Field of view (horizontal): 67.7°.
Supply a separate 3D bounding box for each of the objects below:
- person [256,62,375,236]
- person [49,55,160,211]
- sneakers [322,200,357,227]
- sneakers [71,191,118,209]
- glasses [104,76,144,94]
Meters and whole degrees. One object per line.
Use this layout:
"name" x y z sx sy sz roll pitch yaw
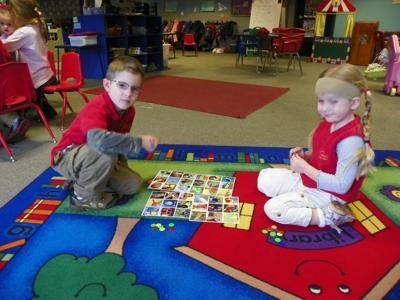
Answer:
"person" 0.697 -0.050 1.896 0.798 0.870 0.658 2 19 24
"person" -0.625 -0.102 2.008 0.728 0.943 0.735 5 4 -10
"sneakers" 0.791 0.364 1.783 0.193 0.139 0.136 9 23 -46
"sneakers" -0.668 0.341 1.952 0.288 0.118 0.105 -5 31 -16
"glasses" -0.458 -0.392 1.862 0.188 0.093 0.076 -4 22 -12
